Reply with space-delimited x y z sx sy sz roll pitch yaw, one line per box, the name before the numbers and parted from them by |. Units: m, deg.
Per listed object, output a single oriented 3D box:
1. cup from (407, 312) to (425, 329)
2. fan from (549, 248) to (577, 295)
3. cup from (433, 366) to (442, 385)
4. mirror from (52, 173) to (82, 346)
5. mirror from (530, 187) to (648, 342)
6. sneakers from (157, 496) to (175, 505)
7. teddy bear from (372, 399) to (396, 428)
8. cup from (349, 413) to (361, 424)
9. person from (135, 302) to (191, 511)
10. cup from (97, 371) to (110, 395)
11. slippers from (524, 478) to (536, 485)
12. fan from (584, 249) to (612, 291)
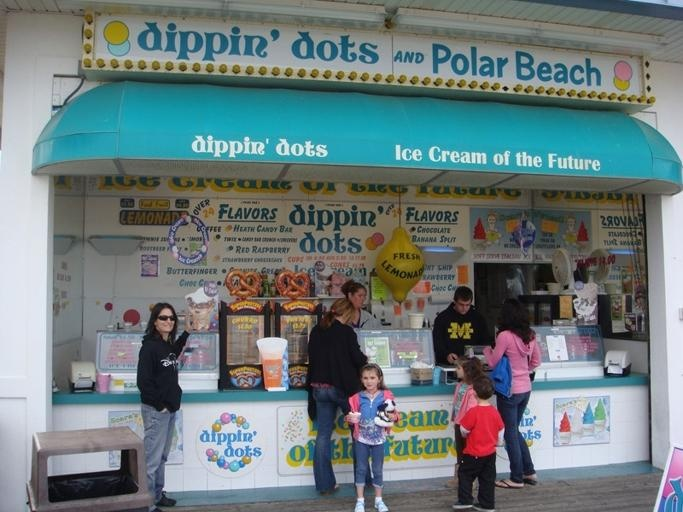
cup | 0.856 0.738 8.061 0.209 0.171 0.216 0 -8 0
fan | 2.811 0.207 8.934 0.287 0.574 0.435 -2 -9 -11
cup | 1.067 1.324 7.818 0.084 0.180 0.318 -3 -3 17
mirror | -3.378 -0.007 8.589 0.333 2.127 1.181 -1 -4 -16
mirror | 4.270 -0.047 11.076 1.069 2.074 2.086 -6 9 -33
sneakers | -1.722 2.415 6.944 0.197 0.084 0.074 0 2 -2
teddy bear | 0.423 1.521 6.793 0.220 0.302 0.218 18 -21 -40
cup | 0.123 1.570 6.804 0.090 0.068 0.093 -2 -2 0
person | -1.744 1.427 6.798 0.493 1.937 0.269 0 -5 -31
cup | -2.473 1.326 7.265 0.169 0.247 0.159 -1 -7 0
slippers | 1.989 2.392 7.438 0.125 0.048 0.052 9 -13 8
fan | 3.355 0.142 9.137 0.326 0.461 0.621 -3 -3 20
